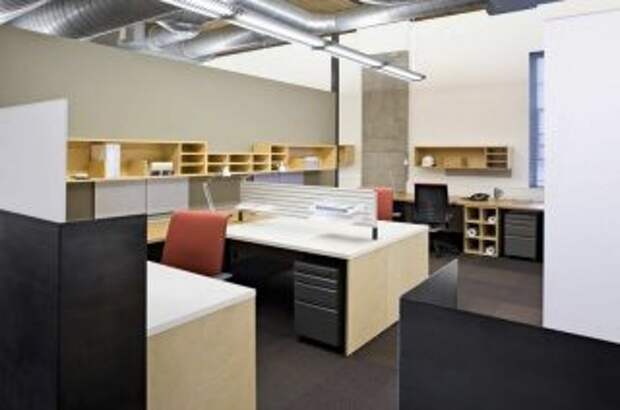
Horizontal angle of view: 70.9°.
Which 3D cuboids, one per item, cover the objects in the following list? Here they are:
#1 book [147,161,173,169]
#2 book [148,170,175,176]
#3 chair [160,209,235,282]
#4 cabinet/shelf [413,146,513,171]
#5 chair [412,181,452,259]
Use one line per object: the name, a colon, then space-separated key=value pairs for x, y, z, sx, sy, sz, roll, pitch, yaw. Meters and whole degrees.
book: x=-1.633 y=-0.439 z=4.796 sx=0.055 sy=0.085 sz=0.260 roll=11 pitch=15 yaw=42
book: x=-1.620 y=-0.357 z=4.751 sx=0.049 sy=0.074 sz=0.282 roll=10 pitch=14 yaw=40
chair: x=-0.791 y=0.276 z=3.441 sx=0.522 sy=0.669 sz=0.543 roll=4 pitch=2 yaw=26
cabinet/shelf: x=2.484 y=-0.789 z=7.193 sx=1.558 sy=0.425 sz=0.334 roll=8 pitch=14 yaw=36
chair: x=1.886 y=0.177 z=6.646 sx=0.663 sy=1.058 sz=0.629 roll=5 pitch=4 yaw=35
